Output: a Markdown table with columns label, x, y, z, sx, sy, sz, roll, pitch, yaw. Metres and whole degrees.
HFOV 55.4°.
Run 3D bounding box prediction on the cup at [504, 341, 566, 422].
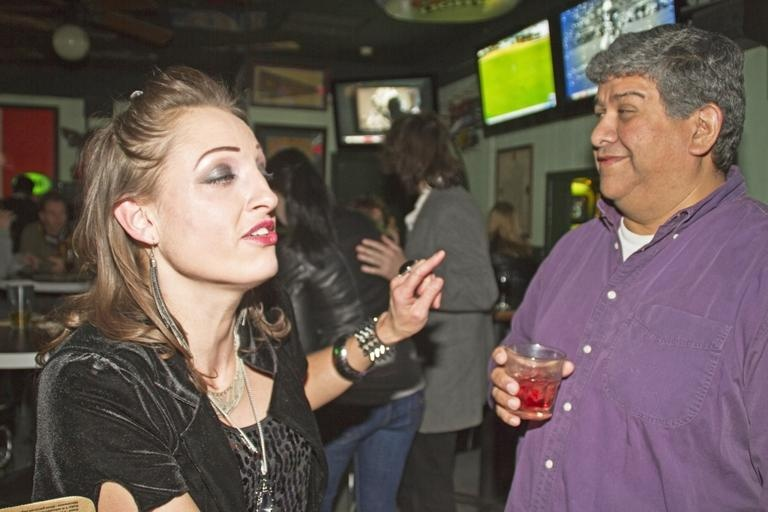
| label | x | y | z | sx | sy | sz | roll | pitch | yaw |
| --- | --- | --- | --- | --- | --- | --- | --- | --- | --- |
| cup | 0.563 | 0.443 | 2.781 | 0.279 | 0.300 | 0.273 | 3 | 3 | 0 |

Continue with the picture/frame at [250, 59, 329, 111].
| label | x | y | z | sx | sy | sz | roll | pitch | yaw |
| --- | --- | --- | --- | --- | --- | --- | --- | --- | --- |
| picture/frame | -0.479 | -0.852 | 3.656 | 0.410 | 0.224 | 0.037 | 7 | 21 | 5 |

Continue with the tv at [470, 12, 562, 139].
| label | x | y | z | sx | sy | sz | roll | pitch | yaw |
| --- | --- | --- | --- | --- | --- | --- | --- | --- | --- |
| tv | 0.661 | -0.867 | 3.578 | 0.593 | 0.597 | 0.065 | -8 | -1 | 17 |

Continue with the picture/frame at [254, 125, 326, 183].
| label | x | y | z | sx | sy | sz | roll | pitch | yaw |
| --- | --- | --- | --- | --- | --- | --- | --- | --- | --- |
| picture/frame | -0.438 | -0.482 | 3.487 | 0.409 | 0.382 | 0.014 | 2 | -3 | -1 |

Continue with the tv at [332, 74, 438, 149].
| label | x | y | z | sx | sy | sz | roll | pitch | yaw |
| --- | --- | --- | --- | --- | --- | --- | --- | --- | --- |
| tv | -0.007 | -0.810 | 3.736 | 0.554 | 0.348 | 0.294 | -9 | 34 | -10 |
